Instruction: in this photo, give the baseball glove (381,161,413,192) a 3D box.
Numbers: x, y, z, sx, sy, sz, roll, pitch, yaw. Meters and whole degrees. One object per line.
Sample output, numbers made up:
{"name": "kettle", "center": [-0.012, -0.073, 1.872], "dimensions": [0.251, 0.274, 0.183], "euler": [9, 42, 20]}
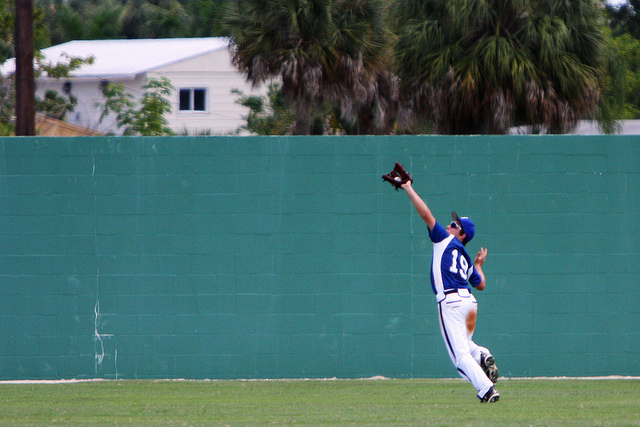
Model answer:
{"name": "baseball glove", "center": [1.570, -0.758, 34.397], "dimensions": [0.573, 0.584, 0.313], "euler": [-4, -1, 1]}
